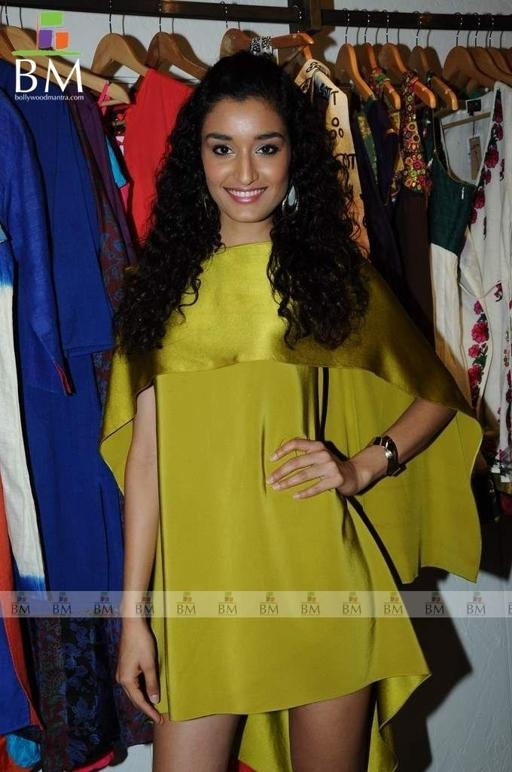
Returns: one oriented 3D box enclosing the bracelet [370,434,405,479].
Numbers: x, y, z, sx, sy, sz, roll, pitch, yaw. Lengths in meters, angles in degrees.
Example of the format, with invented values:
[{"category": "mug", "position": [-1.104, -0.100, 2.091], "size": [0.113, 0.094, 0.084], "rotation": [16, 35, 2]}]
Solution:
[{"category": "bracelet", "position": [0.181, 0.091, 0.962], "size": [0.039, 0.063, 0.058], "rotation": [-19, 54, 6]}]
